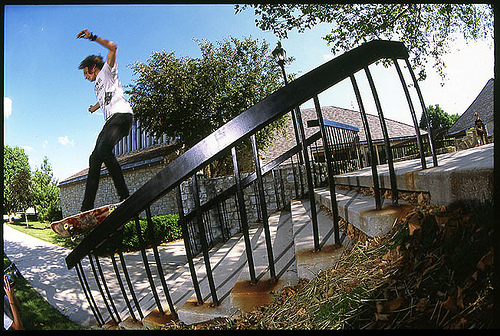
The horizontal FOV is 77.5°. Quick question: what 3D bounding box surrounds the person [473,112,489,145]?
[{"bbox_3d":[8.224,-1.434,11.095,0.309,1.202,1.232,-9,-1,37],"label":"person"}]
